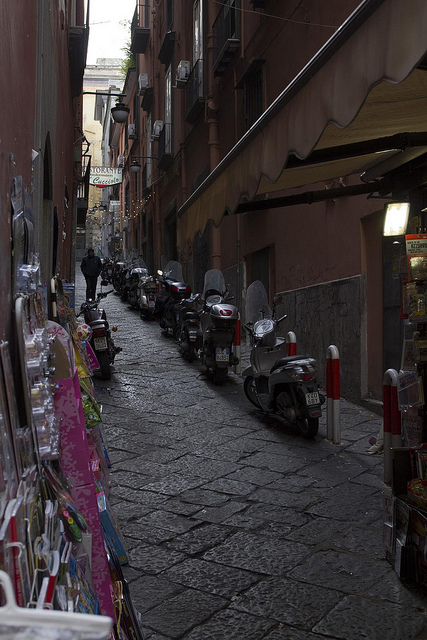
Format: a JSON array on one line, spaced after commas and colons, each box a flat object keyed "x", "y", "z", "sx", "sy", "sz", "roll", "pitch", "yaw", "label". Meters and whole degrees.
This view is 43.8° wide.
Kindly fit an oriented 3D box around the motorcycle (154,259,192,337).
[{"x": -0.968, "y": -0.580, "z": 11.732, "sx": 0.635, "sy": 1.516, "sz": 1.622, "roll": 2, "pitch": 12, "yaw": -8, "label": "motorcycle"}]

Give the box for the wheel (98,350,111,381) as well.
[{"x": -1.650, "y": 0.683, "z": 8.033, "sx": 0.173, "sy": 0.470, "sz": 0.252, "roll": -2, "pitch": 6, "yaw": -12, "label": "wheel"}]

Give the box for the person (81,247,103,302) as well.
[{"x": -3.814, "y": -1.437, "z": 16.698, "sx": 0.488, "sy": 1.909, "sz": 0.486, "roll": -6, "pitch": 24, "yaw": -27, "label": "person"}]

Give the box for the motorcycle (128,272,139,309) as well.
[{"x": -2.461, "y": -1.042, "z": 17.010, "sx": 0.394, "sy": 1.149, "sz": 0.577, "roll": 4, "pitch": -12, "yaw": -22, "label": "motorcycle"}]

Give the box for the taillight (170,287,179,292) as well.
[{"x": -0.842, "y": -0.676, "z": 11.314, "sx": 0.224, "sy": 0.095, "sz": 0.043, "roll": 3, "pitch": 7, "yaw": 32, "label": "taillight"}]

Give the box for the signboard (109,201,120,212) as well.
[{"x": -8.495, "y": -9.946, "z": 45.579, "sx": 0.760, "sy": 0.754, "sz": 3.921, "roll": -3, "pitch": 8, "yaw": -11, "label": "signboard"}]

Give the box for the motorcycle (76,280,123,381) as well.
[{"x": -1.929, "y": 0.076, "z": 8.755, "sx": 0.575, "sy": 1.515, "sz": 1.671, "roll": -8, "pitch": 10, "yaw": -17, "label": "motorcycle"}]

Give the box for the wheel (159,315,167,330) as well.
[{"x": -1.127, "y": 0.025, "z": 11.962, "sx": 0.127, "sy": 0.330, "sz": 0.475, "roll": -3, "pitch": 7, "yaw": -17, "label": "wheel"}]

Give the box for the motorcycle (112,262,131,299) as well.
[{"x": -3.608, "y": -1.588, "z": 20.875, "sx": 0.648, "sy": 1.112, "sz": 1.619, "roll": 9, "pitch": 28, "yaw": -15, "label": "motorcycle"}]

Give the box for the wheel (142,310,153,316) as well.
[{"x": -1.828, "y": -0.232, "z": 14.665, "sx": 0.172, "sy": 0.155, "sz": 0.208, "roll": -1, "pitch": -1, "yaw": -2, "label": "wheel"}]

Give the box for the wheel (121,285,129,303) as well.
[{"x": -3.248, "y": -1.002, "z": 19.469, "sx": 0.210, "sy": 0.669, "sz": 0.320, "roll": 5, "pitch": -21, "yaw": -11, "label": "wheel"}]

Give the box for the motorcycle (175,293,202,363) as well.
[{"x": -0.431, "y": 0.092, "z": 10.003, "sx": 0.487, "sy": 1.157, "sz": 1.416, "roll": 7, "pitch": 5, "yaw": -6, "label": "motorcycle"}]

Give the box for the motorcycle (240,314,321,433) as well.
[{"x": 0.732, "y": 0.540, "z": 6.047, "sx": 0.368, "sy": 1.261, "sz": 1.374, "roll": -7, "pitch": 8, "yaw": -22, "label": "motorcycle"}]

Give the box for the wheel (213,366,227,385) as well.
[{"x": 0.110, "y": 0.821, "z": 7.920, "sx": 0.217, "sy": 0.318, "sz": 0.166, "roll": -6, "pitch": 8, "yaw": -40, "label": "wheel"}]

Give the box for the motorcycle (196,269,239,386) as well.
[{"x": 0.016, "y": 0.119, "z": 8.664, "sx": 0.523, "sy": 1.642, "sz": 1.937, "roll": 9, "pitch": 6, "yaw": -13, "label": "motorcycle"}]

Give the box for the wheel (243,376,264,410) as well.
[{"x": 0.492, "y": 0.894, "z": 6.626, "sx": 0.073, "sy": 0.366, "sz": 0.296, "roll": -7, "pitch": 22, "yaw": -21, "label": "wheel"}]

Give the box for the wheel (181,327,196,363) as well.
[{"x": -0.472, "y": 0.414, "z": 9.534, "sx": 0.225, "sy": 0.418, "sz": 0.550, "roll": 2, "pitch": 23, "yaw": -6, "label": "wheel"}]

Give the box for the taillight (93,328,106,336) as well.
[{"x": -1.754, "y": 0.164, "z": 8.129, "sx": 0.172, "sy": 0.109, "sz": 0.048, "roll": -4, "pitch": 6, "yaw": -20, "label": "taillight"}]

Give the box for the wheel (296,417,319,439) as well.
[{"x": 0.942, "y": 1.096, "z": 5.470, "sx": 0.262, "sy": 0.250, "sz": 0.152, "roll": 3, "pitch": 7, "yaw": 33, "label": "wheel"}]

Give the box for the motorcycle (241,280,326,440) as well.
[{"x": 0.751, "y": 0.452, "z": 6.082, "sx": 0.422, "sy": 1.555, "sz": 1.558, "roll": -9, "pitch": 9, "yaw": -20, "label": "motorcycle"}]

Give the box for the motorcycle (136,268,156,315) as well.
[{"x": -1.943, "y": -0.864, "z": 15.234, "sx": 0.643, "sy": 1.172, "sz": 1.620, "roll": 3, "pitch": 25, "yaw": -10, "label": "motorcycle"}]

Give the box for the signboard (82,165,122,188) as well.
[{"x": -4.304, "y": -5.834, "z": 20.939, "sx": 0.983, "sy": 0.936, "sz": 2.859, "roll": -4, "pitch": 8, "yaw": -18, "label": "signboard"}]
